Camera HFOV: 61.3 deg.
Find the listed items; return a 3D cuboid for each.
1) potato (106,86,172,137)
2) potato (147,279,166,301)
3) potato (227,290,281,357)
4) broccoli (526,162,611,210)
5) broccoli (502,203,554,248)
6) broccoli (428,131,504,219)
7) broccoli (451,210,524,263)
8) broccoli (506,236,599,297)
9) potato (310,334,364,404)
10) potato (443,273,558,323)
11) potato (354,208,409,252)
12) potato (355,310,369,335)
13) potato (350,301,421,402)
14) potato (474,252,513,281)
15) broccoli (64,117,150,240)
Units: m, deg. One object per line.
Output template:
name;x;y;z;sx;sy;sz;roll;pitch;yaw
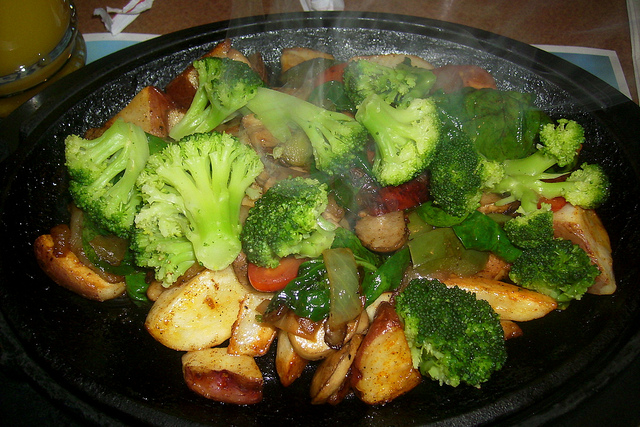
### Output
potato;-1.117;-0.620;3.452;0.255;0.372;0.115;28;27;-19
potato;-1.005;0.468;3.290;0.099;0.045;0.128;26;91;24
potato;-0.417;0.652;3.315;0.266;0.121;0.508;12;36;-6
broccoli;1.528;-0.173;3.303;0.412;0.242;0.190;3;44;28
broccoli;1.238;0.088;3.181;0.264;0.106;0.265;-24;85;25
broccoli;0.826;-0.226;3.182;0.374;0.157;0.411;41;79;10
broccoli;1.032;0.092;3.343;0.502;0.122;0.284;9;53;-4
broccoli;1.382;0.319;3.217;0.434;0.203;0.332;12;76;4
potato;0.073;0.895;3.151;0.091;0.239;0.392;35;79;11
potato;1.090;0.504;3.209;0.526;0.127;0.293;7;35;8
potato;0.377;0.102;3.306;0.335;0.115;0.243;2;75;1
potato;0.252;0.645;3.191;0.090;0.029;0.116;9;71;-11
potato;0.378;0.812;3.095;0.425;0.153;0.563;-2;87;3
potato;1.079;0.342;3.286;0.193;0.063;0.180;-9;102;4
broccoli;-1.269;-0.343;3.195;0.156;0.316;0.434;3;58;19
